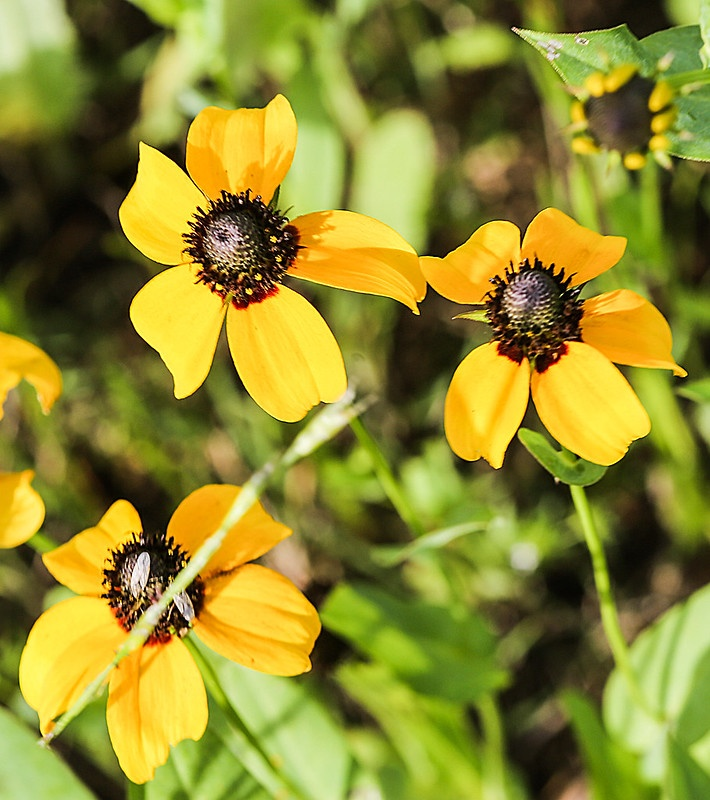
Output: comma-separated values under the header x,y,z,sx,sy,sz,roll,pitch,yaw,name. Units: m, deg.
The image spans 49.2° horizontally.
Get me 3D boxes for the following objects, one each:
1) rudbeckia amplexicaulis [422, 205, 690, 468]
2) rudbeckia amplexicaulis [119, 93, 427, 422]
x,y,z,sx,sy,sz,roll,pitch,yaw,name
0.315,-0.132,1.188,0.563,0.359,0.146,-16,26,-16,rudbeckia amplexicaulis
-0.156,-0.224,1.197,0.413,0.348,0.469,-22,47,-18,rudbeckia amplexicaulis
